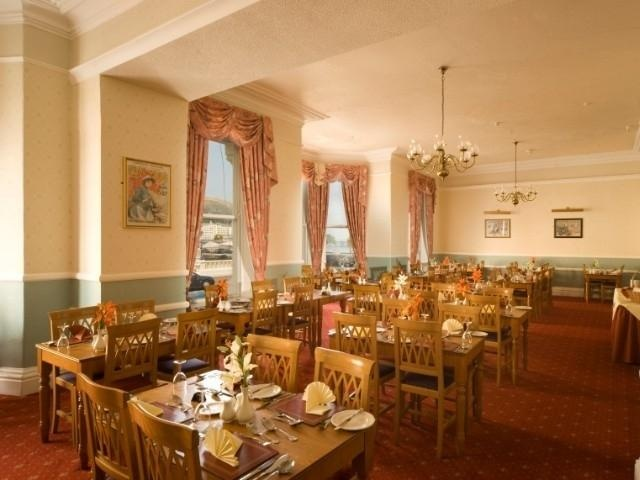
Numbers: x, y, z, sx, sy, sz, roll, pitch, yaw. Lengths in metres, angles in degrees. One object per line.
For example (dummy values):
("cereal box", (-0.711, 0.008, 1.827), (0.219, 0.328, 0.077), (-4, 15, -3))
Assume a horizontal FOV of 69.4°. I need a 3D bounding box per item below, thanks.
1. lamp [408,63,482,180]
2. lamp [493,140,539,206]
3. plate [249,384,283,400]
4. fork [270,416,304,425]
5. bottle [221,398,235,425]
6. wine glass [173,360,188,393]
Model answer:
("lamp", (2.822, -2.699, 10.460), (1.599, 2.492, 1.656), (-1, -4, 39))
("lamp", (5.919, -1.882, 13.691), (1.265, 1.955, 3.471), (4, 10, 21))
("plate", (-0.472, 1.318, 4.005), (0.276, 0.070, 0.179), (-1, 9, -9))
("fork", (-0.254, 1.431, 3.657), (0.284, 0.048, 0.077), (-3, 7, 37))
("bottle", (-0.719, 1.346, 3.660), (0.144, 0.210, 0.153), (0, 0, 0))
("wine glass", (-1.229, 1.156, 3.986), (0.103, 0.286, 0.249), (-3, 10, -18))
